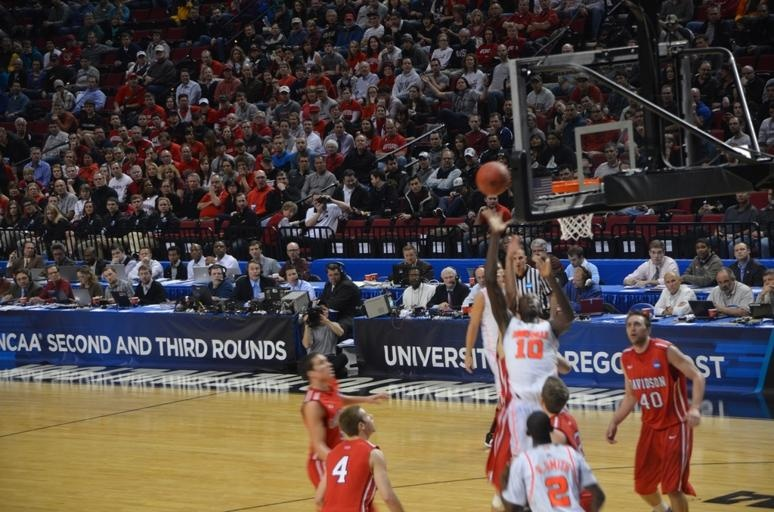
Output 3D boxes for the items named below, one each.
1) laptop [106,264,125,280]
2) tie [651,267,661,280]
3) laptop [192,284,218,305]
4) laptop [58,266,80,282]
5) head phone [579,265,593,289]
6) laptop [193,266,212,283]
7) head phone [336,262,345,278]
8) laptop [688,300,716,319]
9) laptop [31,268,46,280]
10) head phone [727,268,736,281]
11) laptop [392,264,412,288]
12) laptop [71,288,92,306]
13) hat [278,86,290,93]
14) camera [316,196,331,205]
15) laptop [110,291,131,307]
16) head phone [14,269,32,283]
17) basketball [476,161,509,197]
[{"bbox_3d":[-5.650,0.327,22.765,0.350,0.258,0.275,7,25,18],"label":"laptop"},{"bbox_3d":[4.869,0.345,19.758,0.128,0.173,0.195,-4,12,-4],"label":"tie"},{"bbox_3d":[-3.479,0.768,20.961,0.460,0.416,0.362,1,1,21],"label":"laptop"},{"bbox_3d":[-6.756,0.414,23.209,0.382,0.286,0.295,1,2,8],"label":"laptop"},{"bbox_3d":[3.463,0.380,19.206,0.305,0.363,0.270,12,13,19],"label":"head phone"},{"bbox_3d":[-3.810,0.407,22.375,0.400,0.297,0.275,3,-12,-12],"label":"laptop"},{"bbox_3d":[-0.857,0.273,20.109,0.164,0.226,0.225,-4,-38,-5],"label":"head phone"},{"bbox_3d":[5.154,0.890,17.963,0.312,0.231,0.269,-1,-6,29],"label":"laptop"},{"bbox_3d":[-7.599,0.422,23.788,0.384,0.218,0.275,4,-5,-15],"label":"laptop"},{"bbox_3d":[5.749,0.334,18.318,0.139,0.193,0.188,-9,9,-1],"label":"head phone"},{"bbox_3d":[0.291,0.408,20.864,0.123,0.392,0.371,-10,16,-43],"label":"laptop"},{"bbox_3d":[-6.160,0.862,22.018,0.411,0.291,0.301,3,11,27],"label":"laptop"},{"bbox_3d":[-2.506,-3.986,26.405,0.277,0.161,0.409,1,1,0],"label":"hat"},{"bbox_3d":[-1.354,-1.158,23.228,0.299,0.173,0.123,-7,13,-17],"label":"camera"},{"bbox_3d":[-5.361,0.908,21.993,0.397,0.292,0.276,9,4,2],"label":"laptop"},{"bbox_3d":[-7.738,0.431,23.234,0.228,0.278,0.212,-2,43,-17],"label":"head phone"},{"bbox_3d":[1.282,-0.908,13.244,0.415,0.424,0.404,-2,13,5],"label":"basketball"}]
